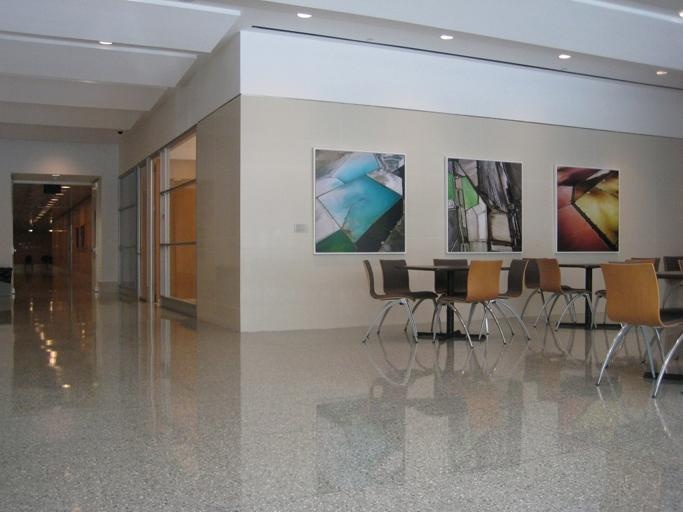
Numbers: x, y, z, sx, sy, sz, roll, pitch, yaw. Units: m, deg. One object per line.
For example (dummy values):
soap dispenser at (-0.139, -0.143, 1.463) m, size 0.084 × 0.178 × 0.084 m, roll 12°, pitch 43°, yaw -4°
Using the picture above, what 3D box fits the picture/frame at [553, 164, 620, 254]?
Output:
picture/frame at (4.380, -0.850, 8.899) m, size 1.468 × 1.622 × 0.124 m, roll -2°, pitch 1°, yaw -17°

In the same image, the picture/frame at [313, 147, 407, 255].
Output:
picture/frame at (0.209, -0.823, 7.323) m, size 1.502 × 1.641 × 0.056 m, roll 0°, pitch 1°, yaw -17°

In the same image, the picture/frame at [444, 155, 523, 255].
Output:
picture/frame at (2.288, -0.849, 8.121) m, size 1.512 × 1.651 × 0.058 m, roll 1°, pitch 0°, yaw -17°
